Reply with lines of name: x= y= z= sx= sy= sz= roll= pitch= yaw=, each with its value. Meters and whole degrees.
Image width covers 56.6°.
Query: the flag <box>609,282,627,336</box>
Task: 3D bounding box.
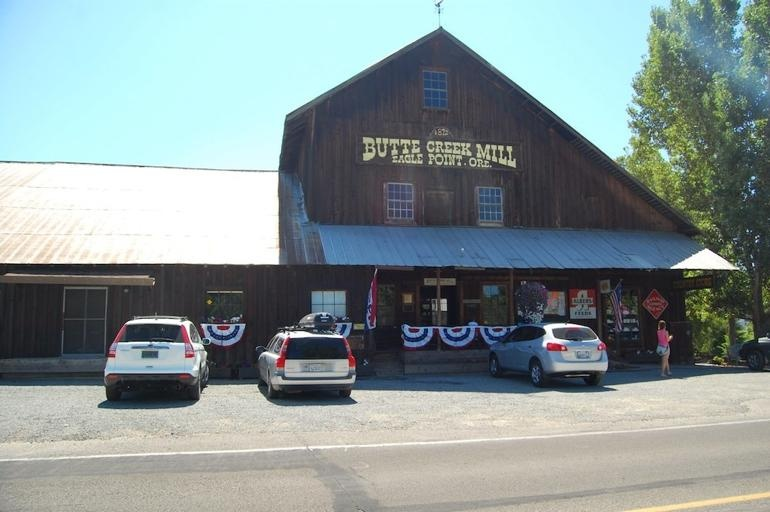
flag: x=10.564 y=2.356 z=32.503 sx=0.410 sy=2.317 sz=3.038 roll=-3 pitch=-7 yaw=17

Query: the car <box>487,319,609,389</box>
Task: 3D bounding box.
car: x=5.934 y=3.630 z=27.397 sx=2.075 sy=1.691 sz=3.767 roll=3 pitch=-3 yaw=-19

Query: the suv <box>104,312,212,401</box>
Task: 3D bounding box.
suv: x=-7.372 y=3.228 z=22.685 sx=1.938 sy=1.910 sz=3.606 roll=0 pitch=0 yaw=-8
